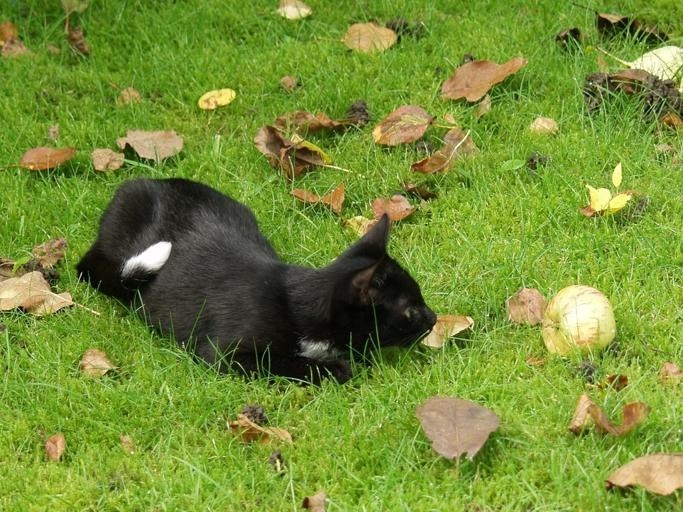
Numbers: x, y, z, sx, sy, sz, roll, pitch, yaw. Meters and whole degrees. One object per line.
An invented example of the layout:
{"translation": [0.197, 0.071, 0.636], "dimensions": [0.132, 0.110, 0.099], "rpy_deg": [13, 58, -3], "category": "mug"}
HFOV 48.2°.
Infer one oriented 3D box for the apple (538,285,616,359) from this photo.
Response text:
{"translation": [1.309, 0.370, 4.421], "dimensions": [0.363, 0.399, 0.390], "rpy_deg": [22, 45, -2], "category": "apple"}
